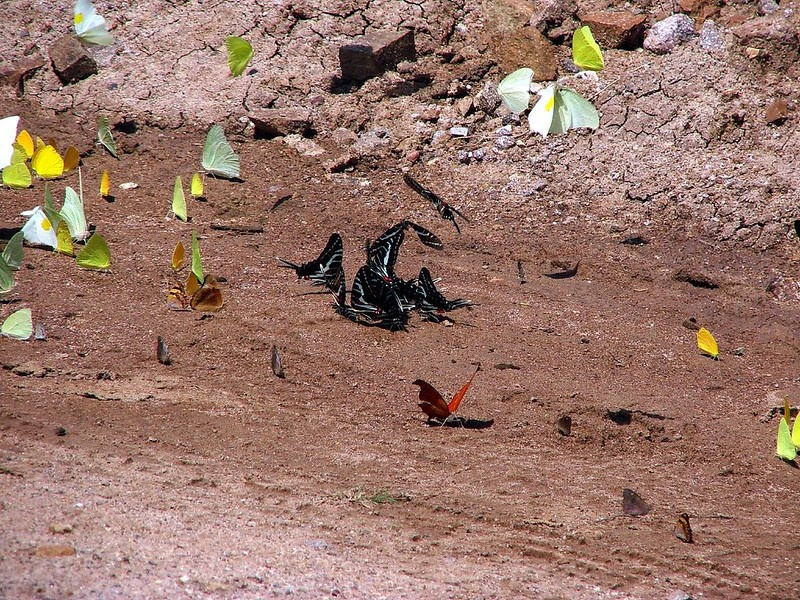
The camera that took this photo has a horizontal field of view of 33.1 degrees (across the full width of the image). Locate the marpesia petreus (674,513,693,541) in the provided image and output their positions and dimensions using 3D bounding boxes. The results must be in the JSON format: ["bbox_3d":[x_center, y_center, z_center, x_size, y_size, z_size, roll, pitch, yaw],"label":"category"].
[{"bbox_3d":[2.759,2.194,12.988,0.208,0.164,0.176,-42,53,40],"label":"marpesia petreus"}]

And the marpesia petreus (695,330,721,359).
[{"bbox_3d":[3.428,0.486,14.891,0.129,0.250,0.303,12,32,-29],"label":"marpesia petreus"}]
